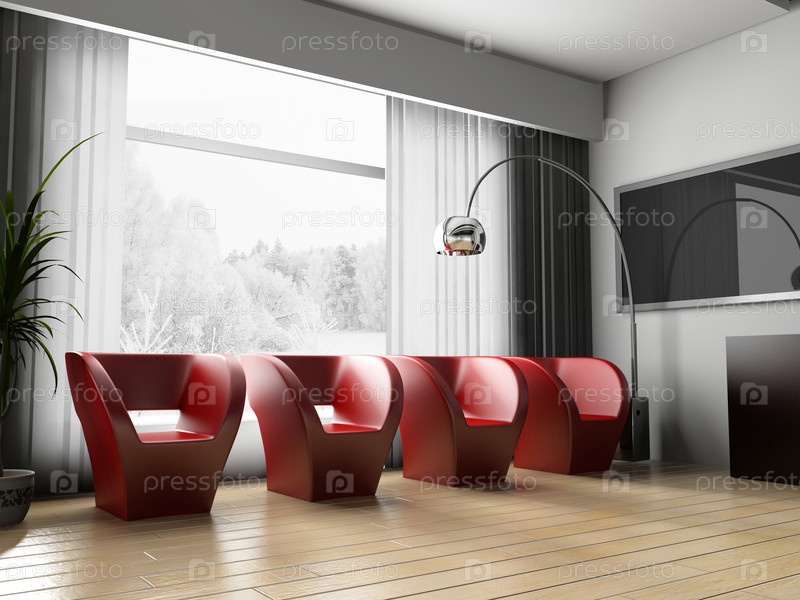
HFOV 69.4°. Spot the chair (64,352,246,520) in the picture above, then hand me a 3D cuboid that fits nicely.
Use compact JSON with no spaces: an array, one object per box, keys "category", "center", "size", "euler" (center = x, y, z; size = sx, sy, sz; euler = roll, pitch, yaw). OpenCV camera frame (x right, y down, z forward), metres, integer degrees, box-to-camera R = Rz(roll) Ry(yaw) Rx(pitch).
[{"category":"chair","center":[-1.350,0.732,3.611],"size":[1.152,1.223,0.874],"euler":[9,-18,-39]}]
